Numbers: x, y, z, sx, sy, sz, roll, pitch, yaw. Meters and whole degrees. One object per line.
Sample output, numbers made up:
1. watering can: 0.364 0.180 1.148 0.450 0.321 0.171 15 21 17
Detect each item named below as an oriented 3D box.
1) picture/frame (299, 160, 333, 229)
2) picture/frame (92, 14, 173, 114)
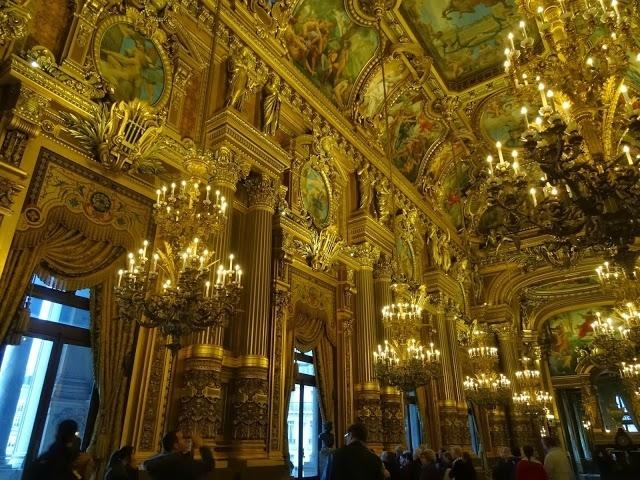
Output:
1. picture/frame: -0.132 -1.007 10.166 0.104 1.592 1.249 -15 -22 33
2. picture/frame: -3.011 -2.779 7.174 0.143 1.783 1.421 -19 -33 28
